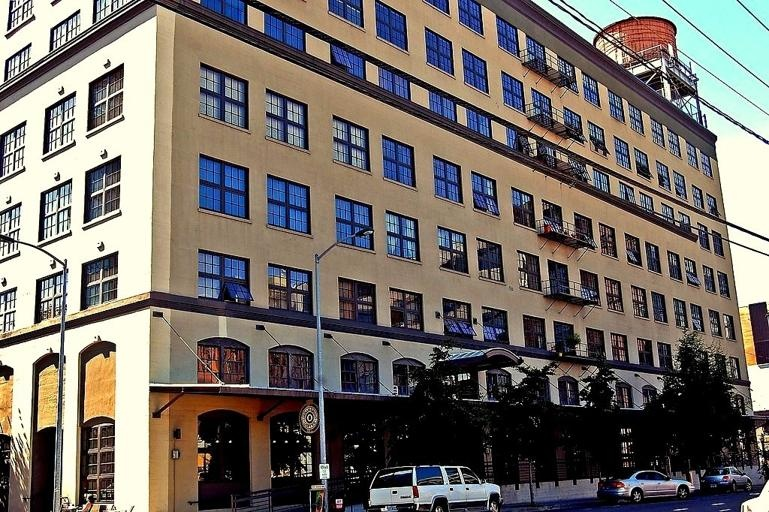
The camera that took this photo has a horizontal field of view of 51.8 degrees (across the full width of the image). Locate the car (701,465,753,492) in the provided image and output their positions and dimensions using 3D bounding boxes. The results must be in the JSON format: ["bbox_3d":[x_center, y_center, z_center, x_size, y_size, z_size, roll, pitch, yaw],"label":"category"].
[{"bbox_3d":[27.512,17.920,63.616,4.101,2.002,1.994,7,-25,-27],"label":"car"}]

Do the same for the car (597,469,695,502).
[{"bbox_3d":[17.780,15.740,54.125,6.103,2.095,1.485,4,-24,-20],"label":"car"}]
